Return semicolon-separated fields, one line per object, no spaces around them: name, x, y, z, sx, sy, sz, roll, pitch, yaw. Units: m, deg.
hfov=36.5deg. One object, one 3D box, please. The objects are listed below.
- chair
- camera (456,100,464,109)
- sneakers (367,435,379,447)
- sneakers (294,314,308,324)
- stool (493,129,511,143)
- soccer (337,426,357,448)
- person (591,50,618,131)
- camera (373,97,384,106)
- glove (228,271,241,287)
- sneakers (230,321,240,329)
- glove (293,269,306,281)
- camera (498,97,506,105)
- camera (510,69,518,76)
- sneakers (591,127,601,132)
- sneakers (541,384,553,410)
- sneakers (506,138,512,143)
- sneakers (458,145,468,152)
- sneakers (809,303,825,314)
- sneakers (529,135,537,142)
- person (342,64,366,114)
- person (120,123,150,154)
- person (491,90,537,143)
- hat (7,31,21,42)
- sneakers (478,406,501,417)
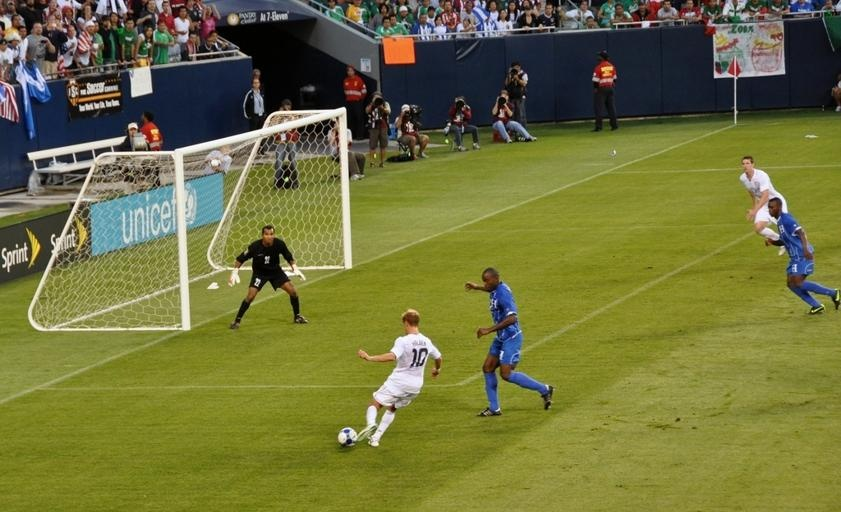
chair;-11.149;-2.883;40.479;1.637;1.184;3.329;1;11;27
camera;1.445;-5.509;46.426;0.275;0.238;0.285;3;13;0
sneakers;-0.949;3.749;25.771;0.317;0.192;0.122;1;6;32
sneakers;-2.887;1.533;30.747;0.352;0.186;0.164;-2;7;8
stool;3.080;-4.483;48.552;0.588;0.490;0.552;2;12;15
soccer;-1.497;3.656;25.872;0.428;0.390;0.447;-5;10;-5
person;7.084;-6.290;49.326;0.898;3.016;1.371;-4;10;7
camera;-1.431;-5.257;43.764;0.299;0.259;0.266;5;9;-9
glove;-4.649;0.603;31.828;0.127;0.433;0.355;36;47;20
sneakers;-4.449;1.672;30.597;0.216;0.115;0.324;0;-2;-12
glove;-3.005;0.454;31.502;0.212;0.245;0.610;12;-16;14
camera;3.031;-5.740;47.580;0.248;0.216;0.264;1;1;7
camera;3.530;-7.003;48.917;0.226;0.283;0.097;1;12;29
sneakers;6.820;-4.864;49.646;0.404;0.215;0.122;-5;14;-3
sneakers;2.648;2.931;26.650;0.264;0.531;0.188;-2;5;-8
sneakers;3.373;-4.324;48.388;0.249;0.150;0.141;11;-12;-17
sneakers;1.535;-3.908;46.800;0.149;0.163;0.418;-3;4;-33
sneakers;9.372;1.271;29.895;0.481;0.186;0.154;-2;7;7
sneakers;4.191;-4.403;48.416;0.160;0.176;0.426;-6;5;-42
person;-2.524;-6.347;49.149;0.752;1.755;1.149;-6;10;-8
person;-8.516;-3.466;37.801;0.658;0.804;1.933;-7;10;-12
person;3.320;-5.224;48.329;1.177;1.943;1.295;-6;10;-9
hat;-12.513;-6.677;39.025;0.474;0.337;0.400;-8;10;-19
sneakers;1.462;3.253;26.656;0.523;0.215;0.179;2;4;7
